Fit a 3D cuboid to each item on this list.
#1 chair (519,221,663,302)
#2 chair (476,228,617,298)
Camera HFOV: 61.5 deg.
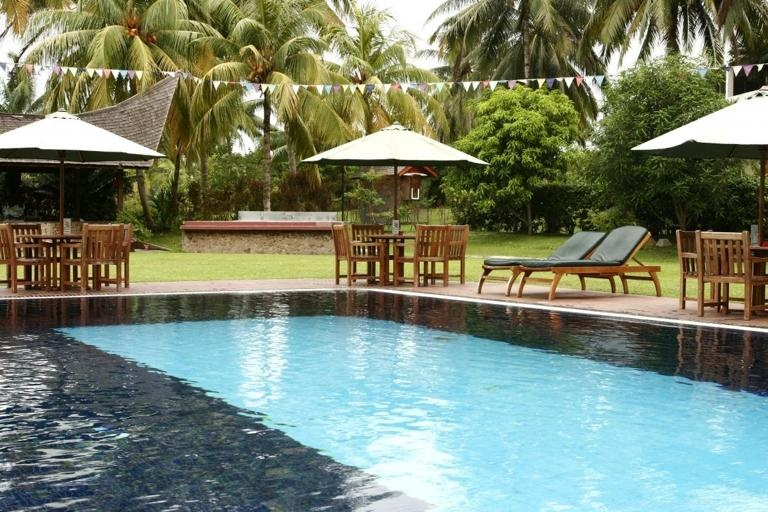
[{"bbox_3d":[3.808,0.084,12.109,2.419,1.189,1.248,-2,3,-20],"label":"chair"},{"bbox_3d":[3.269,0.139,12.121,2.020,0.907,1.013,-8,4,-41],"label":"chair"}]
